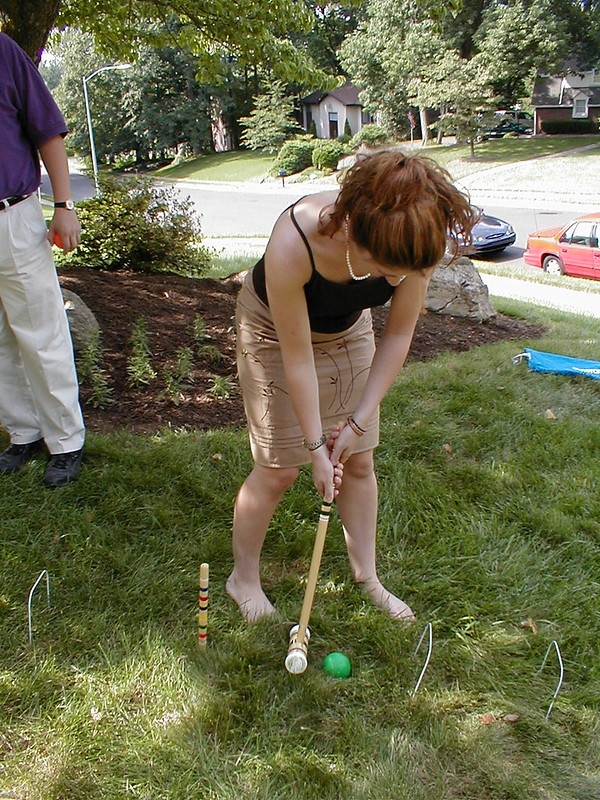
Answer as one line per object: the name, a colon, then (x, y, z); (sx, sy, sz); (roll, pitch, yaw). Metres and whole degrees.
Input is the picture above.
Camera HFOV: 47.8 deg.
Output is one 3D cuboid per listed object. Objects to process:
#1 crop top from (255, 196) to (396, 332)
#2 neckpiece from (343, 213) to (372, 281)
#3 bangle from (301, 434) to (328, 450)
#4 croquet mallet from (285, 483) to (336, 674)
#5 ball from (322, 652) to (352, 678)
crop top: (0.105, -0.378, 2.233); (0.489, 0.360, 0.515); (1, -4, -36)
neckpiece: (0.153, -0.398, 1.885); (0.018, 0.118, 0.091); (10, 25, 35)
bangle: (0.047, 0.136, 2.142); (0.061, 0.051, 0.069); (-4, 16, 4)
croquet mallet: (0.040, 0.680, 2.511); (0.132, 0.125, 0.709); (9, 38, 6)
ball: (0.122, 0.867, 2.207); (0.076, 0.086, 0.072); (6, 55, -8)
